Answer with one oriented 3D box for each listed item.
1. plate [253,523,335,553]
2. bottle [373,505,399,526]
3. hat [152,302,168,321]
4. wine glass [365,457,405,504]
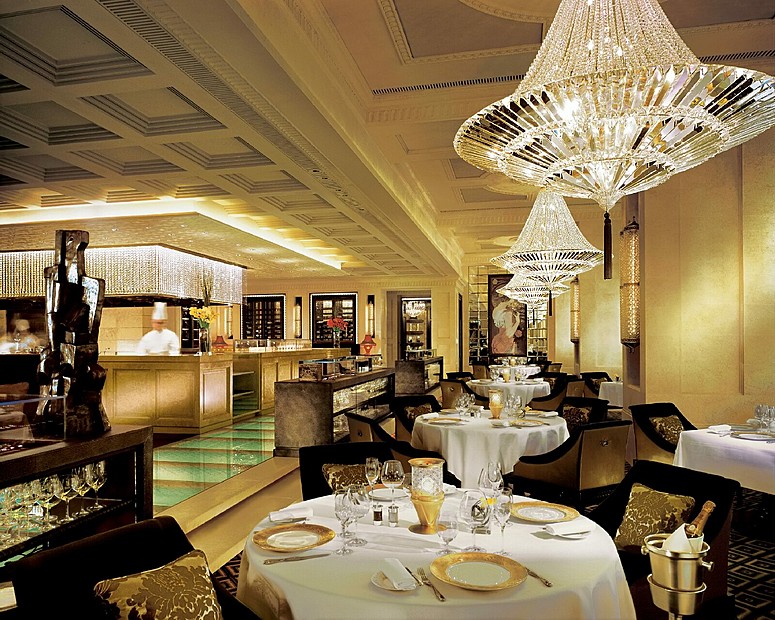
[{"bbox_3d":[-0.432,1.036,2.418,0.310,0.028,0.322,1,-2,-43],"label":"plate"},{"bbox_3d":[-0.010,1.018,2.616,0.116,0.058,0.040,1,0,11],"label":"bottle"},{"bbox_3d":[-4.181,0.009,9.764,0.207,0.359,1.117,0,-1,-25],"label":"hat"},{"bbox_3d":[-0.009,0.896,2.828,0.195,0.275,0.413,-1,-1,2],"label":"wine glass"}]
